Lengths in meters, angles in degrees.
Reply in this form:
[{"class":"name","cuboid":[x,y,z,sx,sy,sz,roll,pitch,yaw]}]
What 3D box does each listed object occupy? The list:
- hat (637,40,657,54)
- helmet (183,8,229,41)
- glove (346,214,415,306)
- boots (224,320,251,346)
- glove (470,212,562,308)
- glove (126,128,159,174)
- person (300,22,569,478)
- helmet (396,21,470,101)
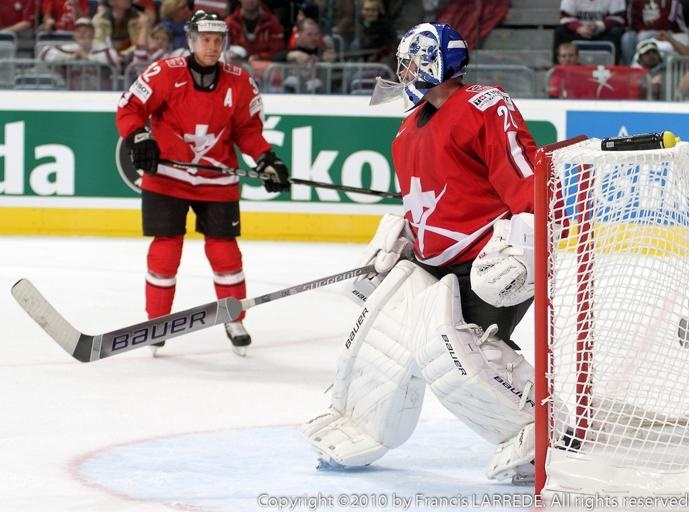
[{"class":"hat","cuboid":[2.096,-1.454,8.084,0.090,0.063,0.124,-2,8,6]},{"class":"helmet","cuboid":[-0.645,-1.119,5.617,0.135,0.115,0.158,9,19,21]},{"class":"glove","cuboid":[0.129,0.016,4.595,0.139,0.345,0.264,15,30,-35]},{"class":"boots","cuboid":[-0.532,0.360,5.686,0.073,0.088,0.210,-20,36,-9]},{"class":"glove","cuboid":[0.637,0.003,4.166,0.152,0.245,0.327,20,40,15]},{"class":"glove","cuboid":[-0.946,-0.493,5.491,0.156,0.202,0.088,-7,0,-23]},{"class":"person","cuboid":[0.359,-0.034,4.382,0.878,1.635,0.705,5,14,17]},{"class":"helmet","cuboid":[0.321,-0.752,4.559,0.319,0.299,0.249,-1,8,17]}]
